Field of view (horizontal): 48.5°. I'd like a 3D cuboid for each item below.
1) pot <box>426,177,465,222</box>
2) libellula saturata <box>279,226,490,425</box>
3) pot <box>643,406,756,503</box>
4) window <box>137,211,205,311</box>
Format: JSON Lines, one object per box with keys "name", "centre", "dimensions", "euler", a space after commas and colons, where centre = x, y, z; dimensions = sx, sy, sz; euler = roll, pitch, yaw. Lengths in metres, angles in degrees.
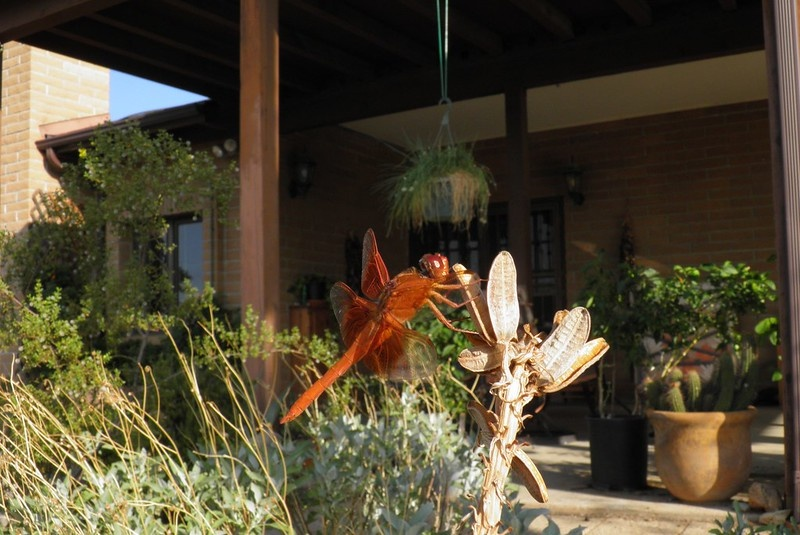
{"name": "pot", "centre": [0.298, -0.443, 5.991], "dimensions": [0.249, 0.298, 0.666], "euler": [-3, 2, 2]}
{"name": "libellula saturata", "centre": [-0.112, 0.280, 4.311], "dimensions": [1.184, 0.582, 0.805], "euler": [-32, 37, -32]}
{"name": "pot", "centre": [2.242, 1.357, 6.635], "dimensions": [0.738, 0.742, 0.812], "euler": [-3, 2, 0]}
{"name": "window", "centre": [-2.388, 0.057, 9.347], "dimensions": [0.878, 1.207, 0.062], "euler": [-1, -1, 31]}
